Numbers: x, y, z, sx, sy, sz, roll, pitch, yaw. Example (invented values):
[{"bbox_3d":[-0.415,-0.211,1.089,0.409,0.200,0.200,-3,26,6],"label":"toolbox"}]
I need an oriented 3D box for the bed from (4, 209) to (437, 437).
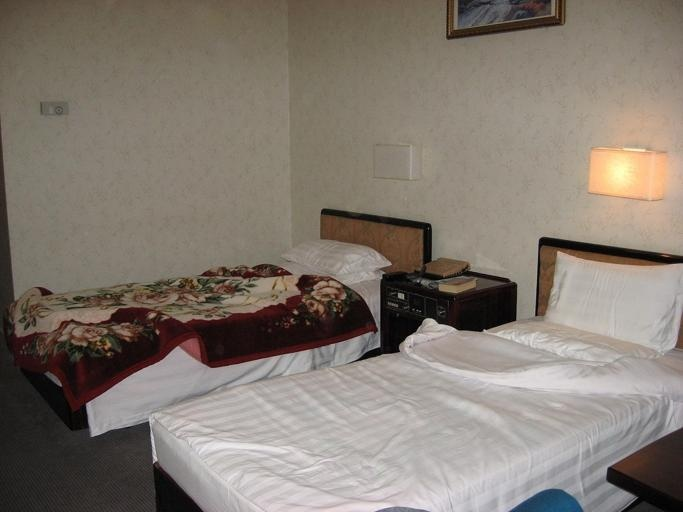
[{"bbox_3d":[-0.665,0.600,4.234,2.576,0.921,1.752,-11,20,-39],"label":"bed"}]

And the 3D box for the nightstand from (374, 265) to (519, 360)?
[{"bbox_3d":[0.783,0.308,4.145,0.675,0.823,0.864,-10,15,-39],"label":"nightstand"}]

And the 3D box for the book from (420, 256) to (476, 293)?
[{"bbox_3d":[0.808,0.131,4.033,0.246,0.098,0.312,-12,14,-39],"label":"book"}]

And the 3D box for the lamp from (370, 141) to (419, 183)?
[{"bbox_3d":[0.483,-0.829,4.732,0.121,0.310,0.509,-10,15,-34],"label":"lamp"}]
